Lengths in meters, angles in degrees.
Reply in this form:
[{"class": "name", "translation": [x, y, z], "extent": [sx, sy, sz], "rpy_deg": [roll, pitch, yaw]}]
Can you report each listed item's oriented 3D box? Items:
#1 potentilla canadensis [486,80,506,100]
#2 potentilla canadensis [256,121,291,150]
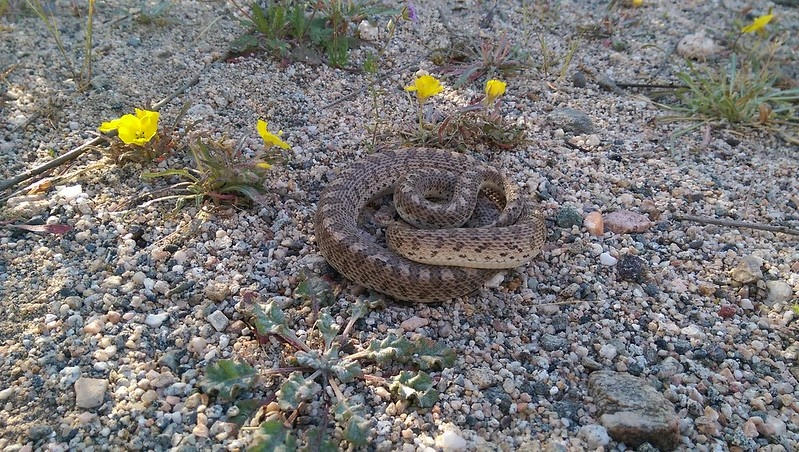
[{"class": "potentilla canadensis", "translation": [1.167, -1.661, 7.540], "extent": [0.202, 0.352, 0.216], "rpy_deg": [8, 77, 2]}, {"class": "potentilla canadensis", "translation": [-1.376, -0.977, 6.685], "extent": [0.123, 0.538, 0.219], "rpy_deg": [22, 92, 47]}]
